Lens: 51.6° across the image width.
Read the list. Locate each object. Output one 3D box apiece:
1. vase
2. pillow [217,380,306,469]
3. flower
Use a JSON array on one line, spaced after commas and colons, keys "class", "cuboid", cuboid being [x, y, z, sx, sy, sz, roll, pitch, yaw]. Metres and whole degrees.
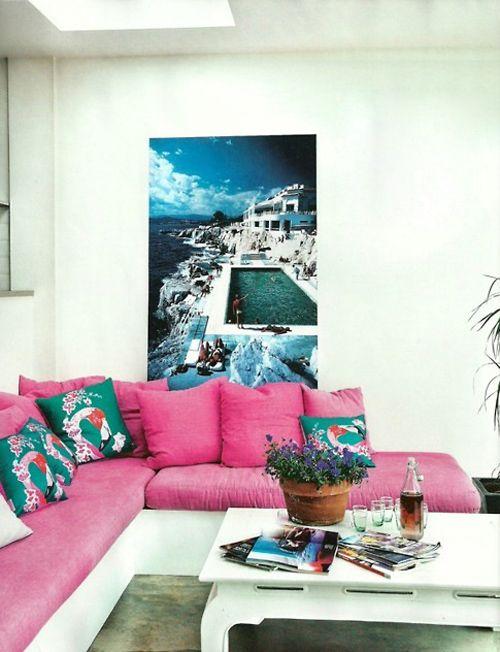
[{"class": "vase", "cuboid": [0.245, 0.649, 1.964, 0.292, 0.154, 0.283, -2, -8, 15]}, {"class": "pillow", "cuboid": [0.061, 0.550, 2.907, 0.519, 0.474, 0.258, 3, 0, -20]}, {"class": "flower", "cuboid": [0.241, 0.486, 1.973, 0.432, 0.145, 0.344, 5, 7, 3]}]
